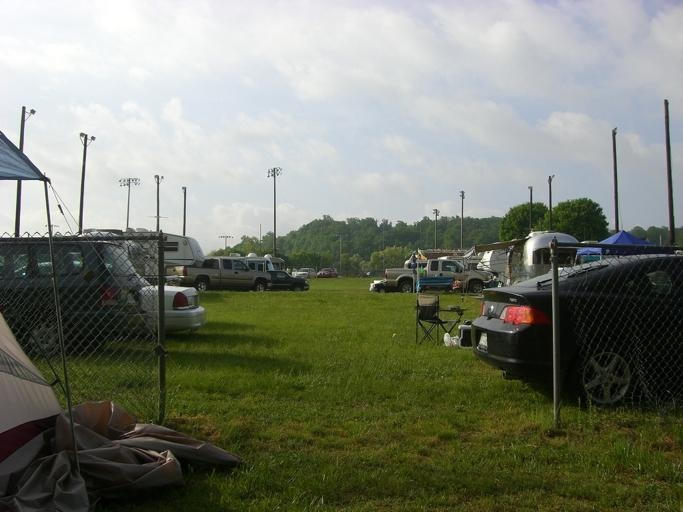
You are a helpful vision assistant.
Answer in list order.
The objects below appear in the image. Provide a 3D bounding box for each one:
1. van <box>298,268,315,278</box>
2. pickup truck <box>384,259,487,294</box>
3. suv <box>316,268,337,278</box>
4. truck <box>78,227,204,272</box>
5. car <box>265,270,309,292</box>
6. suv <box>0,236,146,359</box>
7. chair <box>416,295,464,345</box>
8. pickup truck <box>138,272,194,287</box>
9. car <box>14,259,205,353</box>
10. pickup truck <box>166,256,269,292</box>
[{"bbox_3d":[-3.706,1.760,78.338,1.175,1.082,2.255,-1,-6,6],"label":"van"},{"bbox_3d":[3.979,0.744,30.981,3.832,1.533,1.759,0,1,0],"label":"pickup truck"},{"bbox_3d":[-1.534,1.852,82.447,1.691,0.915,1.068,-1,2,-26],"label":"suv"},{"bbox_3d":[-6.832,-0.240,25.228,3.630,1.518,1.032,-1,9,-5],"label":"truck"},{"bbox_3d":[-2.384,1.090,33.075,1.540,0.679,0.810,-2,0,-5],"label":"car"},{"bbox_3d":[-3.396,0.455,9.152,2.535,1.176,1.246,1,0,14],"label":"suv"},{"bbox_3d":[1.707,1.129,13.294,0.648,1.007,0.748,-2,2,-44],"label":"chair"},{"bbox_3d":[-3.400,0.445,14.582,0.894,0.245,0.971,2,1,17],"label":"pickup truck"},{"bbox_3d":[-3.321,0.546,9.129,2.493,0.980,1.208,2,2,11],"label":"car"},{"bbox_3d":[-4.733,0.780,29.848,3.087,1.269,1.480,-1,2,-29],"label":"pickup truck"}]
